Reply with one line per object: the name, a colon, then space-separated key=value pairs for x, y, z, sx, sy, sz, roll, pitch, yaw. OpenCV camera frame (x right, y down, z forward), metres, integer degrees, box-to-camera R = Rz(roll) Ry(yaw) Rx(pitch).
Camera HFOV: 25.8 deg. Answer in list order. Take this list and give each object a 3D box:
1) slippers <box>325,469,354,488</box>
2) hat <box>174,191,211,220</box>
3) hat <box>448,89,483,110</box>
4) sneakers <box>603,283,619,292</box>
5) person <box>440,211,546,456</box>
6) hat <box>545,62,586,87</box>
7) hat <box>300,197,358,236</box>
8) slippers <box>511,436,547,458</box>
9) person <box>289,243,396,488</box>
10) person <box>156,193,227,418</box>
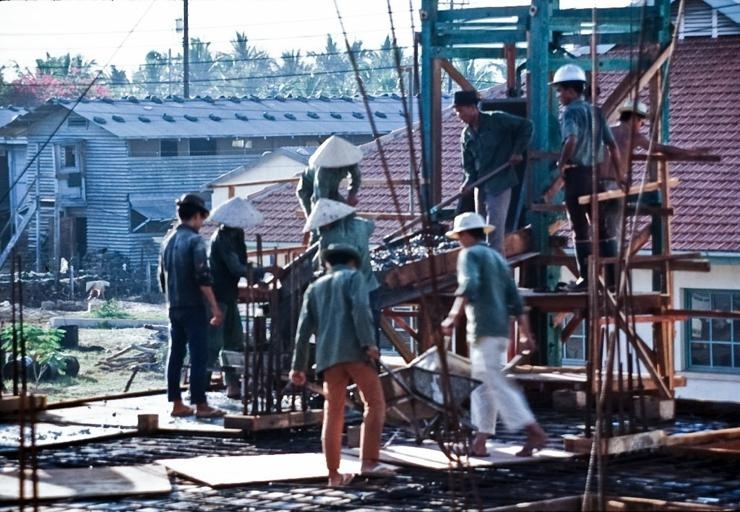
slippers: x=-0.401 y=3.061 z=22.228 sx=0.344 sy=0.217 sz=0.136 roll=-1 pitch=-6 yaw=-4
hat: x=-2.630 y=-0.775 z=24.335 sx=0.442 sy=0.190 sz=0.506 roll=2 pitch=-31 yaw=15
hat: x=1.509 y=-2.459 z=25.191 sx=0.355 sy=0.214 sz=0.347 roll=-2 pitch=-4 yaw=15
sneakers: x=3.443 y=0.447 z=22.997 sx=0.148 sy=0.105 sz=0.143 roll=1 pitch=-15 yaw=1
person: x=1.671 y=1.054 z=22.733 sx=1.162 sy=3.338 sz=0.553 roll=-1 pitch=-6 yaw=-2
hat: x=3.067 y=-2.771 z=24.733 sx=0.482 sy=0.372 sz=0.466 roll=-2 pitch=-6 yaw=6
hat: x=-0.622 y=-0.584 z=23.719 sx=0.598 sy=0.251 sz=0.485 roll=-29 pitch=16 yaw=-5
slippers: x=2.270 y=2.716 z=22.878 sx=0.561 sy=0.216 sz=0.186 roll=-16 pitch=15 yaw=3
person: x=-0.352 y=1.500 z=22.332 sx=1.298 sy=3.317 sz=0.611 roll=-2 pitch=-6 yaw=0
person: x=-2.731 y=0.755 z=24.241 sx=0.722 sy=3.302 sz=0.969 roll=4 pitch=-8 yaw=-41
